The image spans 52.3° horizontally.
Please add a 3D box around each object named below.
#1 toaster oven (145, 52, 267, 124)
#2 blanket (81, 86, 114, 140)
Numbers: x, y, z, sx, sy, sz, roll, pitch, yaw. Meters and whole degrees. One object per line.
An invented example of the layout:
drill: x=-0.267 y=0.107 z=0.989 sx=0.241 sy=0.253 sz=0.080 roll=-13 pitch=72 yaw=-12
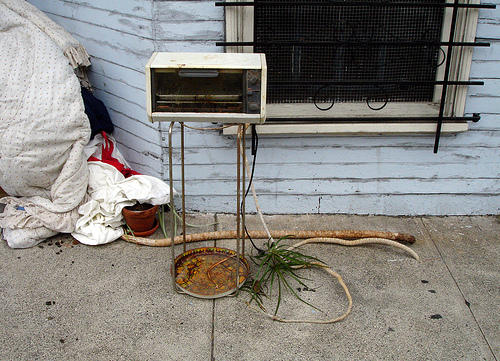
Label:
toaster oven: x=-0.271 y=-0.573 z=3.144 sx=0.715 sy=0.404 sz=0.364 roll=1 pitch=27 yaw=-4
blanket: x=-1.218 y=-0.533 z=4.046 sx=0.201 sy=0.357 sz=0.290 roll=-8 pitch=27 yaw=-23
